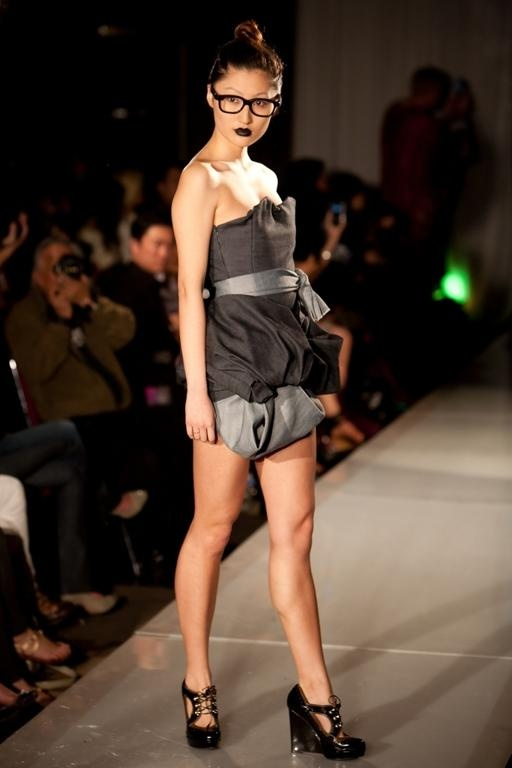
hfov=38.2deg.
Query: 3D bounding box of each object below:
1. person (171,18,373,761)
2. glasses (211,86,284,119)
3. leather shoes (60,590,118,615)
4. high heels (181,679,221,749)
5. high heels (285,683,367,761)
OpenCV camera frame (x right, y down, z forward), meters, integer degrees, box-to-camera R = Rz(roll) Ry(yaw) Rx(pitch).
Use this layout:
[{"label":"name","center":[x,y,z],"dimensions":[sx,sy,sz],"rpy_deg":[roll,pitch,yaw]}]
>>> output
[{"label":"person","center":[-0.008,-0.013,1.415],"dimensions":[0.352,1.361,0.379],"rpy_deg":[-3,8,3]},{"label":"glasses","center":[-0.004,-0.528,1.395],"dimensions":[0.141,0.056,0.067],"rpy_deg":[-7,9,-26]},{"label":"leather shoes","center":[-0.384,0.491,1.677],"dimensions":[0.041,0.047,0.118],"rpy_deg":[9,5,21]},{"label":"high heels","center":[-0.105,0.616,1.396],"dimensions":[0.042,0.052,0.127],"rpy_deg":[2,31,-13]},{"label":"high heels","center":[0.127,0.621,1.391],"dimensions":[0.134,0.098,0.160],"rpy_deg":[-3,8,-2]}]
